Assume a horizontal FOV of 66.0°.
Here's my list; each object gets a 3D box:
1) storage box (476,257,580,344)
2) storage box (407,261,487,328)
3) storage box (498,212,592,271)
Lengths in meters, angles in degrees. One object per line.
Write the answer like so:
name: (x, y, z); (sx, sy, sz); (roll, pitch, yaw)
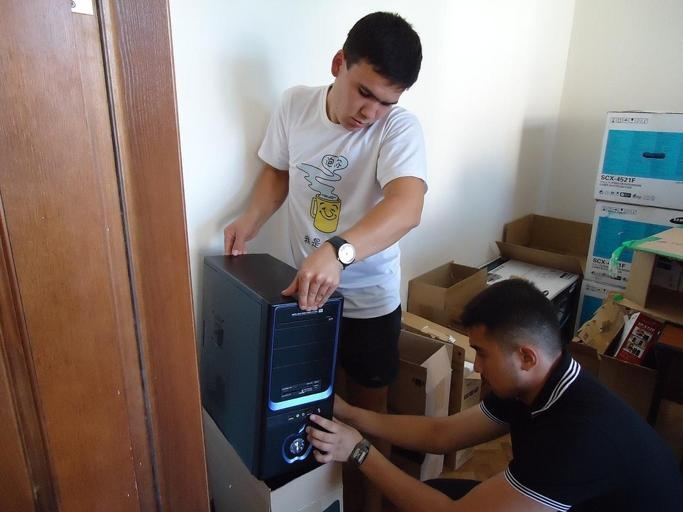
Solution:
storage box: (1.090, 0.298, 3.123); (0.530, 0.427, 0.563); (12, 27, 16)
storage box: (0.497, 0.207, 2.497); (0.192, 0.263, 0.352); (14, 21, 43)
storage box: (1.357, -0.076, 3.368); (0.527, 0.173, 0.500); (-25, 33, -34)
